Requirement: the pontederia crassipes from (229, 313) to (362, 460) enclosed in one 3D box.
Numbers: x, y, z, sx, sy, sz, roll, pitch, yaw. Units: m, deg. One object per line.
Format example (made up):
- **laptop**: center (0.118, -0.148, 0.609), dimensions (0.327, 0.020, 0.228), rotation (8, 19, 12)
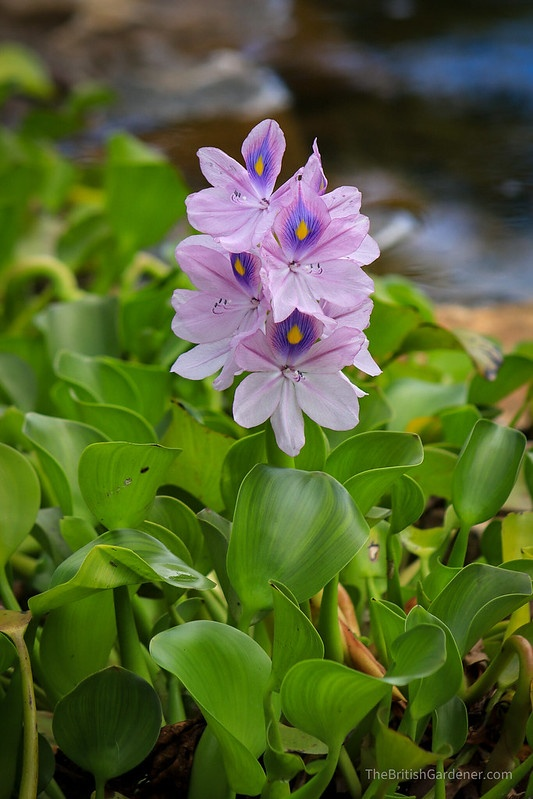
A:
- **pontederia crassipes**: center (0.018, -0.004, 0.290), dimensions (0.078, 0.026, 0.069), rotation (7, -22, 18)
